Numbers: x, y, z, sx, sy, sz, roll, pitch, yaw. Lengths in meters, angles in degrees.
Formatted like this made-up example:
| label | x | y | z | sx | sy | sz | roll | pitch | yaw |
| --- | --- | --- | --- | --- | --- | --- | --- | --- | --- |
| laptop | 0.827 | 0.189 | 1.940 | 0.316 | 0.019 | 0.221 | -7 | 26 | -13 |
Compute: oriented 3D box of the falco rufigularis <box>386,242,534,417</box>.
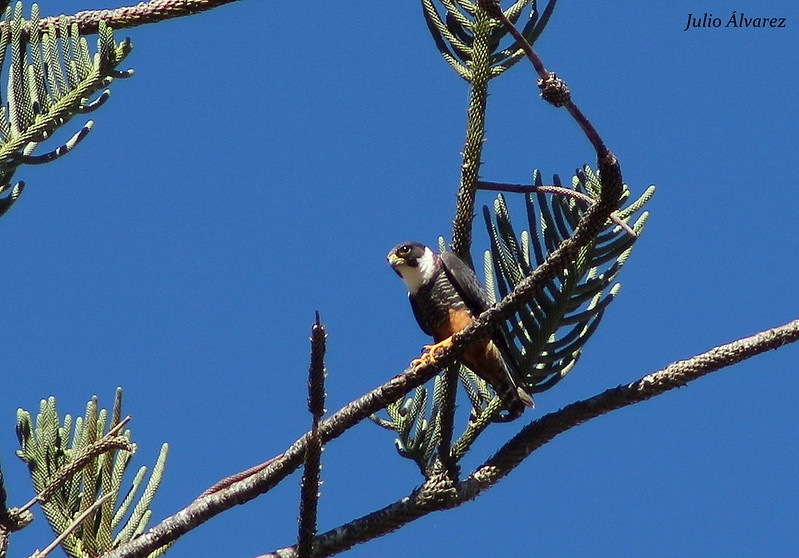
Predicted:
| label | x | y | z | sx | sy | sz | roll | pitch | yaw |
| --- | --- | --- | --- | --- | --- | --- | --- | --- | --- |
| falco rufigularis | 0.283 | 0.211 | 8.221 | 0.398 | 0.581 | 0.951 | -28 | -45 | 30 |
